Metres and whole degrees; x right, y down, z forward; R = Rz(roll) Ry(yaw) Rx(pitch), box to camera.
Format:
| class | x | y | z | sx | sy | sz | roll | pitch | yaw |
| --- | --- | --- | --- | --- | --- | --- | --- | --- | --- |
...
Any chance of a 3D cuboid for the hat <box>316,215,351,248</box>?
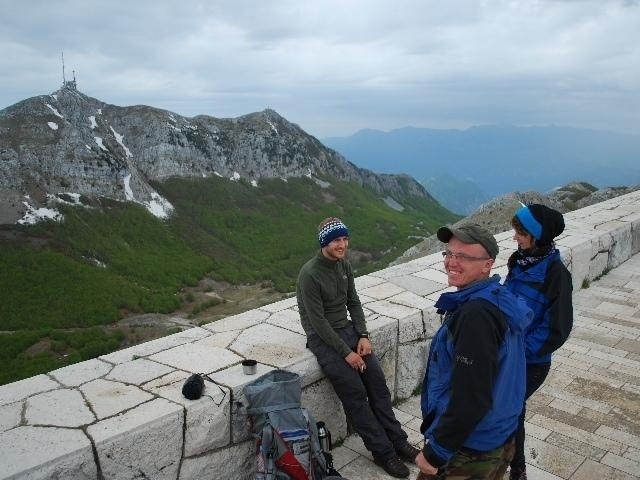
| class | x | y | z | sx | sy | sz | roll | pitch | yaw |
| --- | --- | --- | --- | --- | --- | --- | --- | --- | --- |
| hat | 0.145 | -0.108 | 5.356 | 0.352 | 0.261 | 0.344 | -16 | 9 | -22 |

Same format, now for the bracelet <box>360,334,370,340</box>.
| class | x | y | z | sx | sy | sz | roll | pitch | yaw |
| --- | --- | --- | --- | --- | --- | --- | --- | --- | --- |
| bracelet | 0.490 | 1.071 | 5.393 | 0.127 | 0.053 | 0.188 | 0 | -1 | 1 |

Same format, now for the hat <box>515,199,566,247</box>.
| class | x | y | z | sx | sy | sz | roll | pitch | yaw |
| --- | --- | --- | --- | --- | --- | --- | --- | --- | --- |
| hat | 2.082 | -0.162 | 4.743 | 0.497 | 0.376 | 0.349 | -2 | 17 | 10 |

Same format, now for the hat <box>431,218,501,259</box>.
| class | x | y | z | sx | sy | sz | roll | pitch | yaw |
| --- | --- | --- | --- | --- | --- | --- | --- | --- | --- |
| hat | 1.186 | -0.032 | 3.852 | 0.449 | 0.216 | 0.282 | 25 | -2 | -9 |

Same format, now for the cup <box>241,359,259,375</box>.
| class | x | y | z | sx | sy | sz | roll | pitch | yaw |
| --- | --- | --- | --- | --- | --- | --- | --- | --- | --- |
| cup | -0.706 | 1.275 | 4.874 | 0.146 | 0.081 | 0.136 | 0 | 12 | 0 |
